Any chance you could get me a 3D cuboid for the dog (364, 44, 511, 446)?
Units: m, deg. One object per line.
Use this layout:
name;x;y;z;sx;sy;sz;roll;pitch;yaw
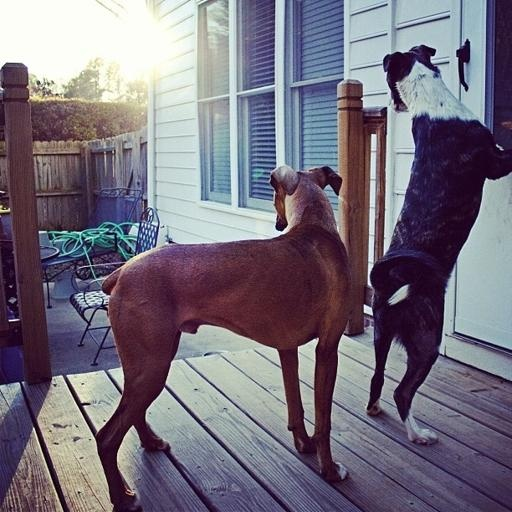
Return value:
dog;0.673;-0.081;1.719;0.566;1.617;0.382;-3;6;-17
